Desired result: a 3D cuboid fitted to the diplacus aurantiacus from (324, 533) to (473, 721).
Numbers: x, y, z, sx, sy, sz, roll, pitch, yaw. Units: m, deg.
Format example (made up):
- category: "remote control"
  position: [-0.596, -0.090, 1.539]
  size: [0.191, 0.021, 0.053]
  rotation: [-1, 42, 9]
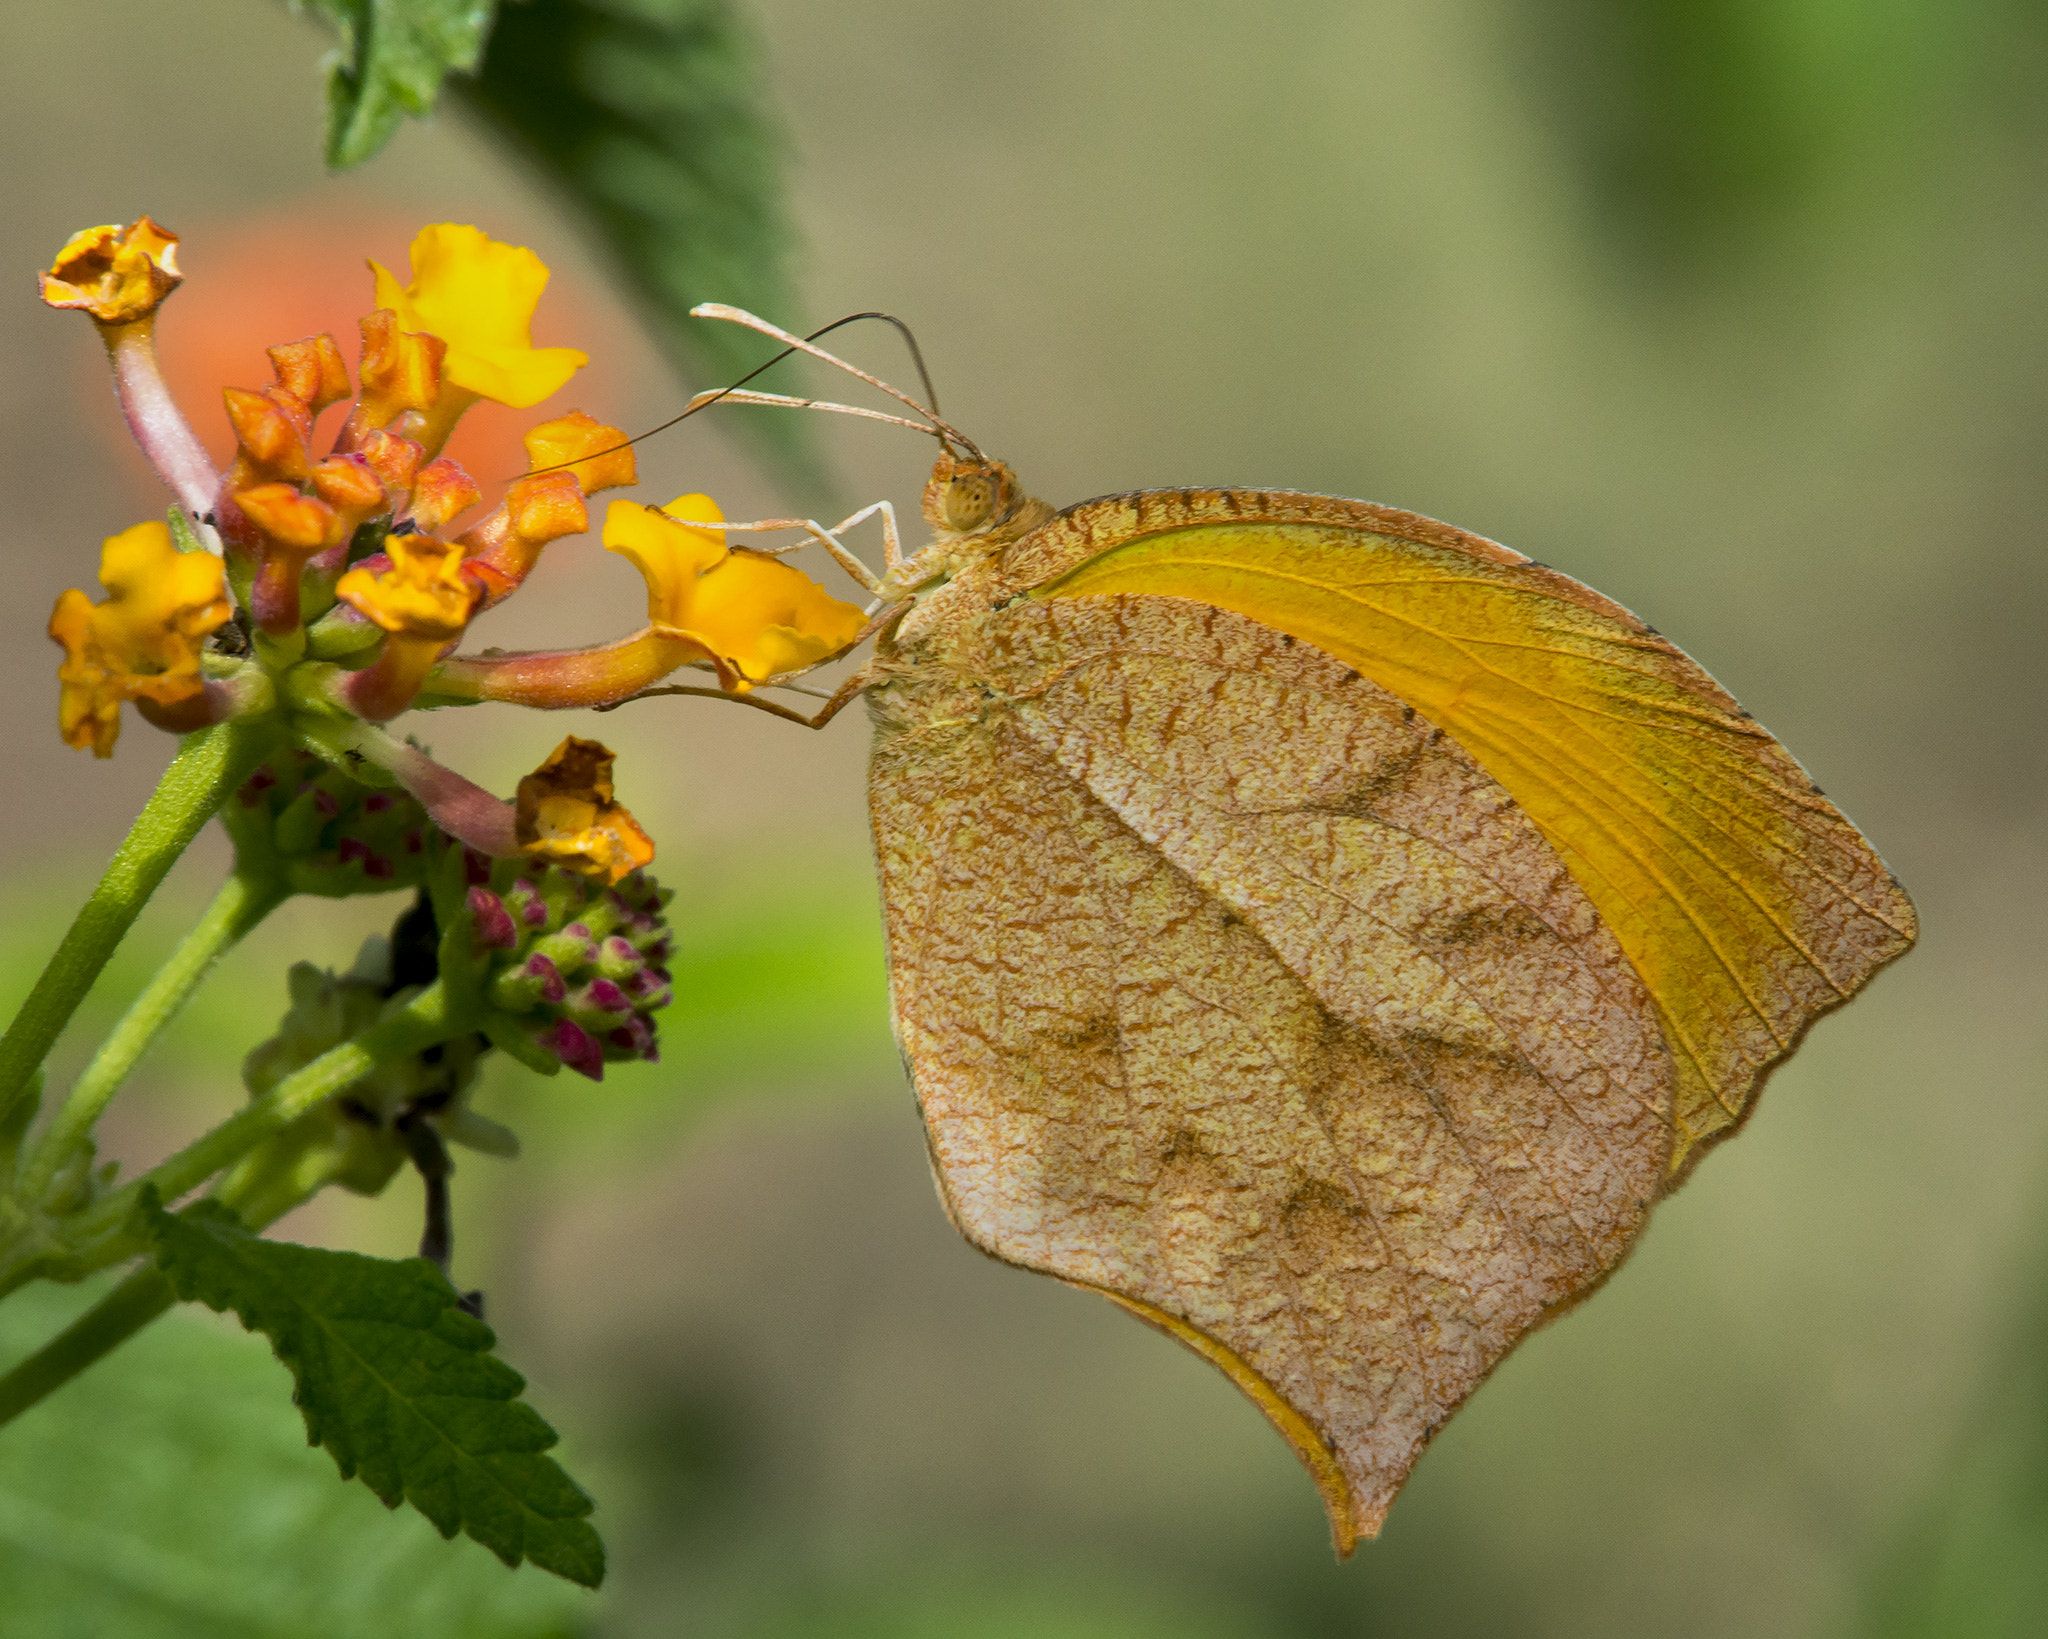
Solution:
- category: "diplacus aurantiacus"
  position: [-0.549, -0.166, 2.087]
  size: [0.106, 0.130, 0.157]
  rotation: [29, -30, -15]
